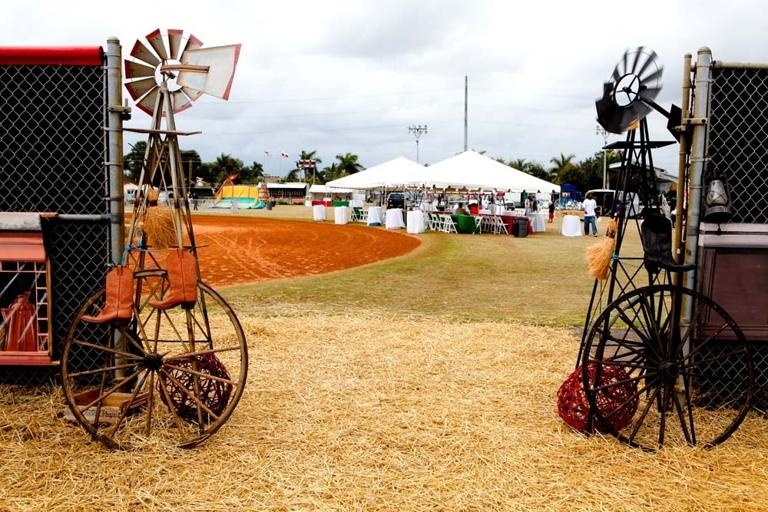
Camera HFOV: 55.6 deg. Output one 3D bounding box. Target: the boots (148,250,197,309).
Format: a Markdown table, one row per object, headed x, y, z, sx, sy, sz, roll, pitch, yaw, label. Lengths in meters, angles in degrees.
| x | y | z | sx | sy | sz | roll | pitch | yaw | label |
| --- | --- | --- | --- | --- | --- | --- | --- | --- | --- |
| -1.869 | 0.192 | 6.458 | 0.410 | 0.521 | 0.347 | -1 | 6 | -15 | boots |

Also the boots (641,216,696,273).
| x | y | z | sx | sy | sz | roll | pitch | yaw | label |
| --- | --- | --- | --- | --- | --- | --- | --- | --- | --- |
| 2.655 | -0.135 | 6.804 | 0.466 | 0.535 | 0.335 | 2 | 6 | 14 | boots |

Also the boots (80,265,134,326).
| x | y | z | sx | sy | sz | roll | pitch | yaw | label |
| --- | --- | --- | --- | --- | --- | --- | --- | --- | --- |
| -2.427 | 0.328 | 6.446 | 0.393 | 0.504 | 0.191 | -1 | 7 | -18 | boots |

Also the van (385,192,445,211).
| x | y | z | sx | sy | sz | roll | pitch | yaw | label |
| --- | --- | --- | --- | --- | --- | --- | --- | --- | --- |
| 1.908 | -3.050 | 40.180 | 3.398 | 1.569 | 2.285 | 0 | 4 | -5 | van |

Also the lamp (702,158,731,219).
| x | y | z | sx | sy | sz | roll | pitch | yaw | label |
| --- | --- | --- | --- | --- | --- | --- | --- | --- | --- |
| 3.176 | -0.627 | 6.927 | 0.237 | 0.620 | 0.429 | 3 | 6 | 19 | lamp |
